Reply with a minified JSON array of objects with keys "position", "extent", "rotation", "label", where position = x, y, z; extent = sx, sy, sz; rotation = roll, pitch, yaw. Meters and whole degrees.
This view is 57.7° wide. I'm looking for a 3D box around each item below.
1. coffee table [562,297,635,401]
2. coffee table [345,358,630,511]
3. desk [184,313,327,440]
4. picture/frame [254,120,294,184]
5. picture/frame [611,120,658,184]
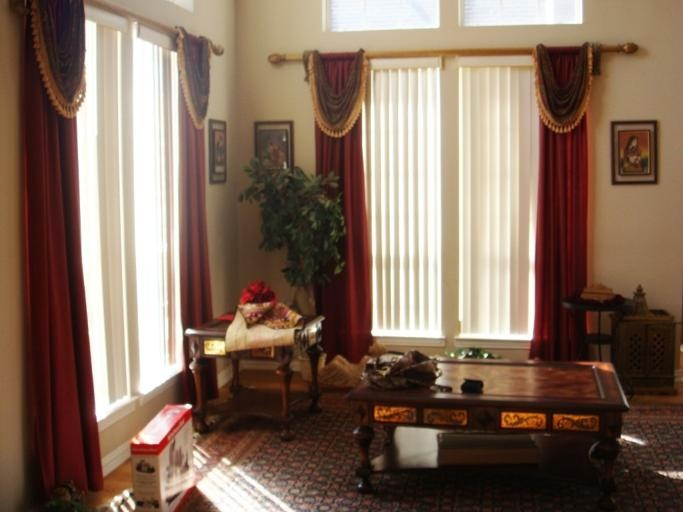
[{"position":[2.253,0.698,5.757],"extent":[0.737,1.090,0.784],"rotation":[3,8,34],"label":"coffee table"},{"position":[1.012,1.135,4.249],"extent":[1.785,0.727,0.800],"rotation":[1,11,8],"label":"coffee table"},{"position":[-0.712,0.826,5.173],"extent":[0.888,0.920,1.011],"rotation":[0,2,16],"label":"desk"},{"position":[-0.664,-1.017,6.086],"extent":[0.582,0.795,0.051],"rotation":[2,7,9],"label":"picture/frame"},{"position":[2.777,-0.980,5.870],"extent":[0.411,0.620,0.043],"rotation":[7,33,37],"label":"picture/frame"}]
